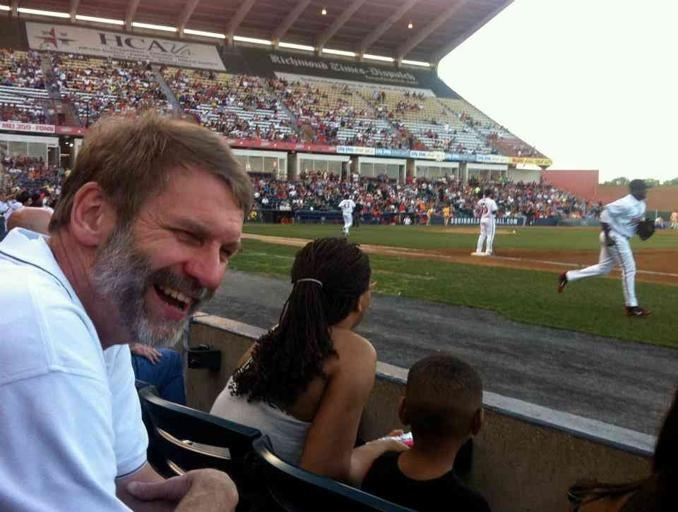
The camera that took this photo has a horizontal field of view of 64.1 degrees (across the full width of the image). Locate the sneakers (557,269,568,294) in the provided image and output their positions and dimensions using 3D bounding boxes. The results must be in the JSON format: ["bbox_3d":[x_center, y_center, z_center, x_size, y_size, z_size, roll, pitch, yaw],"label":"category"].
[{"bbox_3d":[3.901,0.478,9.445,0.115,0.372,0.168,1,46,7],"label":"sneakers"}]

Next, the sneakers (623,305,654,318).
[{"bbox_3d":[3.960,0.747,7.204,0.348,0.181,0.129,-2,6,9],"label":"sneakers"}]
